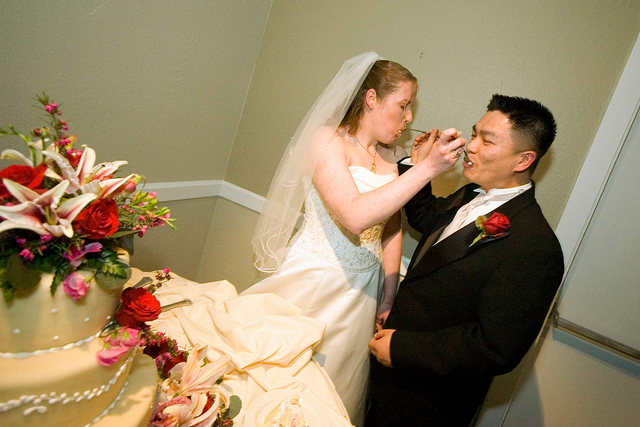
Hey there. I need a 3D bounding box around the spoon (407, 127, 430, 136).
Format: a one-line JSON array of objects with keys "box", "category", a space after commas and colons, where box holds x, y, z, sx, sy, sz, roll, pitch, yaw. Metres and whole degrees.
[{"box": [0.637, -0.530, 2.815, 0.140, 0.018, 0.018, 31, 15, 13], "category": "spoon"}]

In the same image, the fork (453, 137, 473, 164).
[{"box": [0.790, -0.340, 2.396, 0.052, 0.081, 0.148, -14, 80, -57], "category": "fork"}]
